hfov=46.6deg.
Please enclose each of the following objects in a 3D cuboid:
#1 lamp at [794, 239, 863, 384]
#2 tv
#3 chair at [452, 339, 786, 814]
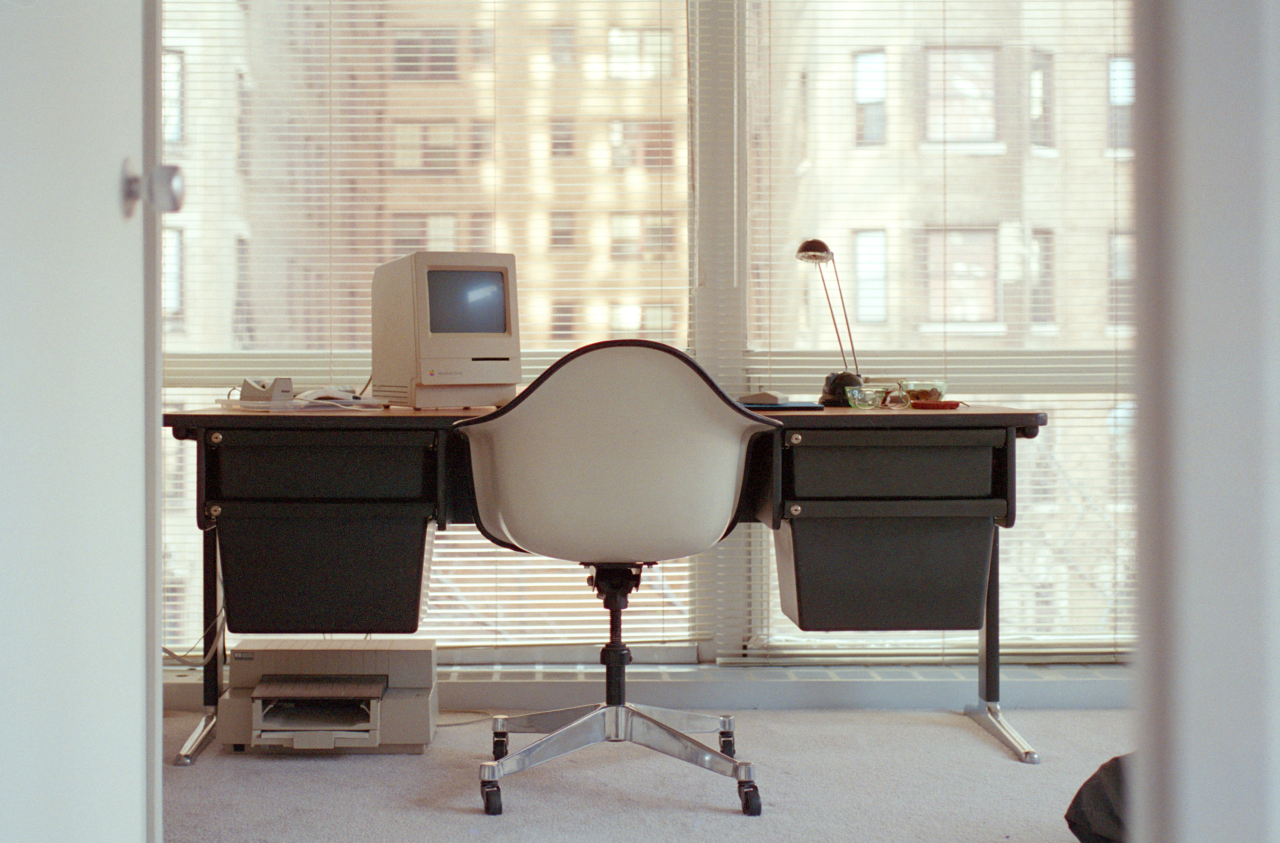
[{"bbox_3d":[0.567,-0.337,4.456,0.188,0.394,0.309,1,5,8],"label":"lamp"},{"bbox_3d":[-0.576,-0.257,4.371,0.348,0.392,0.447,-2,0,-25],"label":"tv"},{"bbox_3d":[-0.071,0.338,4.057,1.207,1.390,1.102,0,4,-6],"label":"chair"}]
